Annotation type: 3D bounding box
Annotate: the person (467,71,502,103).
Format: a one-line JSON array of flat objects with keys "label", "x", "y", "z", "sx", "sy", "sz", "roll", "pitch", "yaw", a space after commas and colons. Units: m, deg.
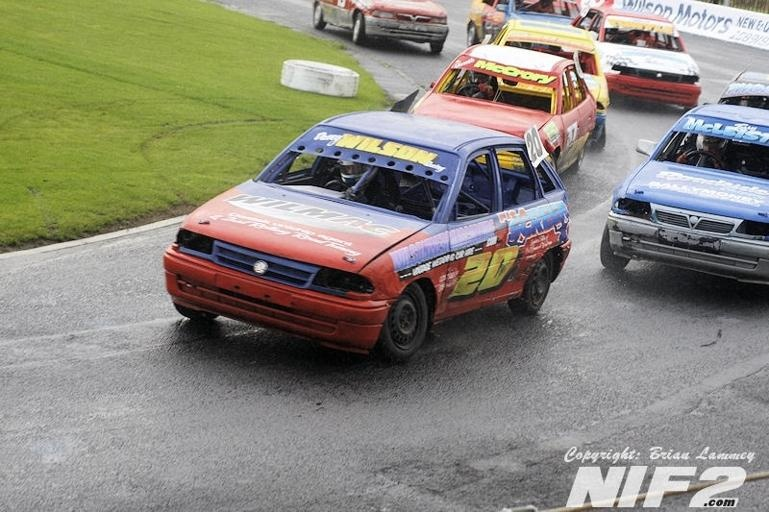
[{"label": "person", "x": 1.843, "y": -3.100, "z": 12.460, "sx": 0.963, "sy": 0.538, "sz": 0.200, "roll": 7, "pitch": -21, "yaw": -1}]
